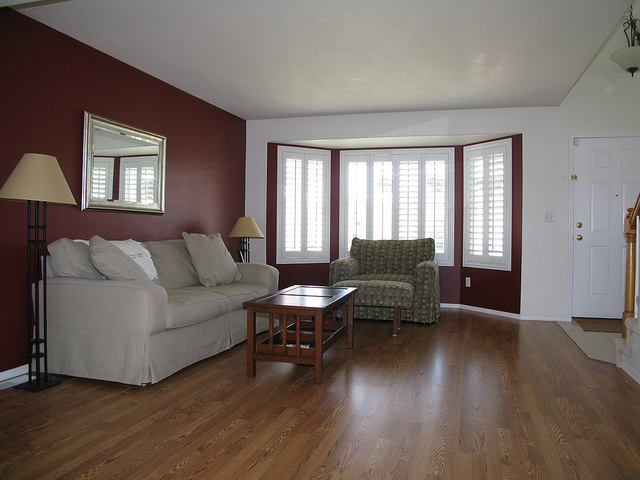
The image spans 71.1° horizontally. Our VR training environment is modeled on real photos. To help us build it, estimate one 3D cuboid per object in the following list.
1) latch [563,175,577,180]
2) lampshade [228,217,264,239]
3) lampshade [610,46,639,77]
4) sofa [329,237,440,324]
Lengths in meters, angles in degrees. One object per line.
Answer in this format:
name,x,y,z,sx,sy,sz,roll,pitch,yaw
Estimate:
latch,3.000,-0.753,5.371,0.098,0.059,0.061,1,18,12
lampshade,-0.890,-0.134,5.405,0.267,0.167,0.301,1,-6,-14
lampshade,2.959,-1.742,4.325,0.258,0.187,0.227,-4,7,-36
sofa,0.863,0.395,5.528,1.302,1.144,1.185,0,-1,20
